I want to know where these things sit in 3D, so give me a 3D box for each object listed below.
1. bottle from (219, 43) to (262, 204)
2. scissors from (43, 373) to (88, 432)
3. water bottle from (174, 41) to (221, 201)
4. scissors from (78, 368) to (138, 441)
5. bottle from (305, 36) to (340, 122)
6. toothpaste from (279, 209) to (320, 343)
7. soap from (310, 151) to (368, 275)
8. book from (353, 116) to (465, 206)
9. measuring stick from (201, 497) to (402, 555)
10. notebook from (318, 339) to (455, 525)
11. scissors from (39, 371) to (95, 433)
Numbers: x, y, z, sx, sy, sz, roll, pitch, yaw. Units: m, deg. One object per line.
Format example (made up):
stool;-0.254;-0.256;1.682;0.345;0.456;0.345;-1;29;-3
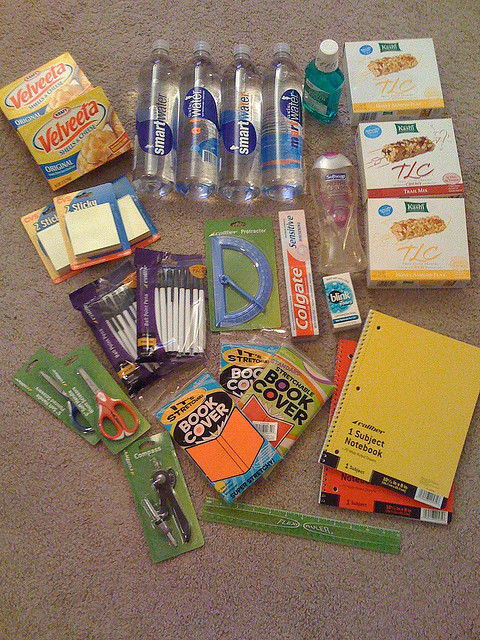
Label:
bottle;-0.003;-0.455;1.185;0.105;0.214;0.344;-2;58;6
scissors;-0.357;0.172;1.062;0.024;0.005;0.145;-36;76;12
water bottle;-0.089;-0.457;1.159;0.086;0.088;0.342;2;83;-10
scissors;-0.276;0.167;1.057;0.076;0.060;0.165;-31;61;-13
bottle;0.184;-0.531;1.161;0.079;0.185;0.039;11;59;14
toothpaste;0.125;-0.097;1.109;0.068;0.231;0.128;-1;43;8
soap;0.221;-0.238;1.172;0.118;0.090;0.295;-4;84;3
book;0.373;-0.350;1.076;0.208;0.053;0.200;-5;83;1
measuring stick;0.123;0.402;1.015;0.418;0.065;0.007;13;18;-7
notebook;0.333;0.200;1.072;0.303;0.424;0.036;16;36;16
scissors;-0.355;0.163;1.059;0.061;0.015;0.147;-27;86;-54
